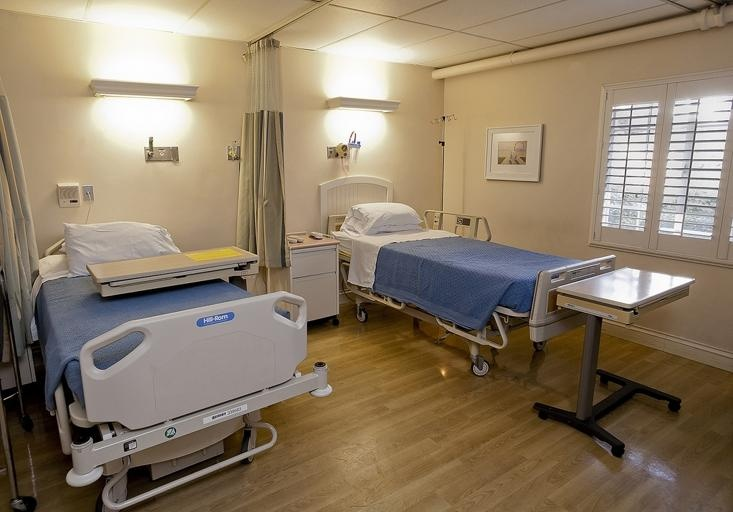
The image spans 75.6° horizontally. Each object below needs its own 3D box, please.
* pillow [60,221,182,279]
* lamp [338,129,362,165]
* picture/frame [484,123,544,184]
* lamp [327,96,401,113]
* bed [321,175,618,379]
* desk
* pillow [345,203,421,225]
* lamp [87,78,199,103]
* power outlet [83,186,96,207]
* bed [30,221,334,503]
[{"bbox_3d":[-2.031,-0.112,3.871,0.659,0.189,0.554,-7,43,-36],"label":"pillow"},{"bbox_3d":[-0.192,-1.251,5.424,0.134,0.383,0.372,7,16,28],"label":"lamp"},{"bbox_3d":[1.712,-1.185,5.374,0.074,0.614,0.723,-7,13,-39],"label":"picture/frame"},{"bbox_3d":[-0.040,-1.711,5.320,0.769,0.120,0.322,-11,17,-35],"label":"lamp"},{"bbox_3d":[0.906,-0.049,4.762,1.421,1.446,2.545,-10,15,-37],"label":"bed"},{"bbox_3d":[1.942,0.734,3.622,1.199,1.068,0.695,-6,15,-39],"label":"desk"},{"bbox_3d":[0.225,-0.480,5.238,0.524,0.150,0.377,0,16,-23],"label":"pillow"},{"bbox_3d":[-1.943,-1.463,4.165,0.850,0.142,0.245,-9,16,-29],"label":"lamp"},{"bbox_3d":[-2.430,-0.545,4.128,0.036,0.124,0.134,4,7,42],"label":"power outlet"},{"bbox_3d":[-1.254,0.788,3.163,1.452,1.341,1.498,-11,17,-34],"label":"bed"}]
